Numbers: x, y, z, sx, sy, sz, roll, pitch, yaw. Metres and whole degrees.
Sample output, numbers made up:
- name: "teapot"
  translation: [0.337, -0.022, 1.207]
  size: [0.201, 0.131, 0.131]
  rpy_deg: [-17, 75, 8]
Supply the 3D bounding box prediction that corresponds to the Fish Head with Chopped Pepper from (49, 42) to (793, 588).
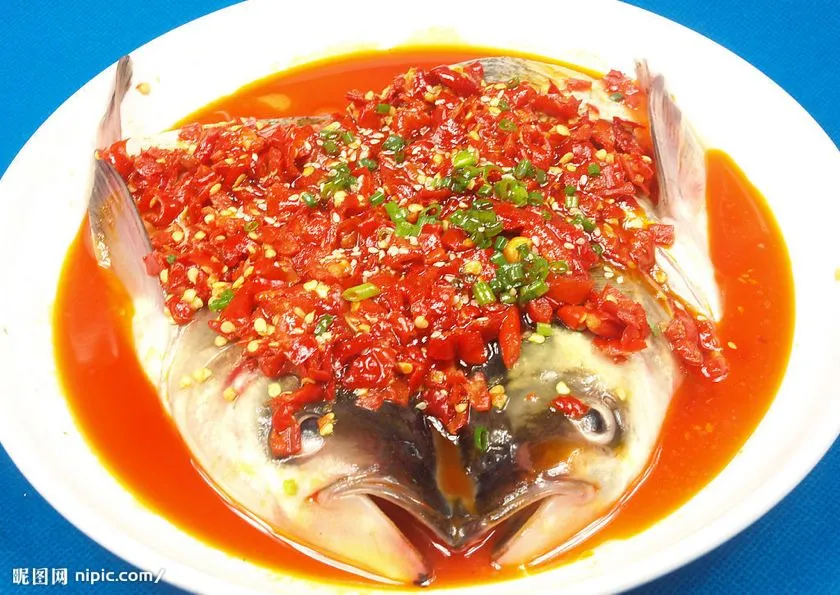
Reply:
- name: "Fish Head with Chopped Pepper"
  translation: [0.102, 0.056, 5.854]
  size: [4.822, 1.100, 3.412]
  rpy_deg: [-10, 84, -1]
